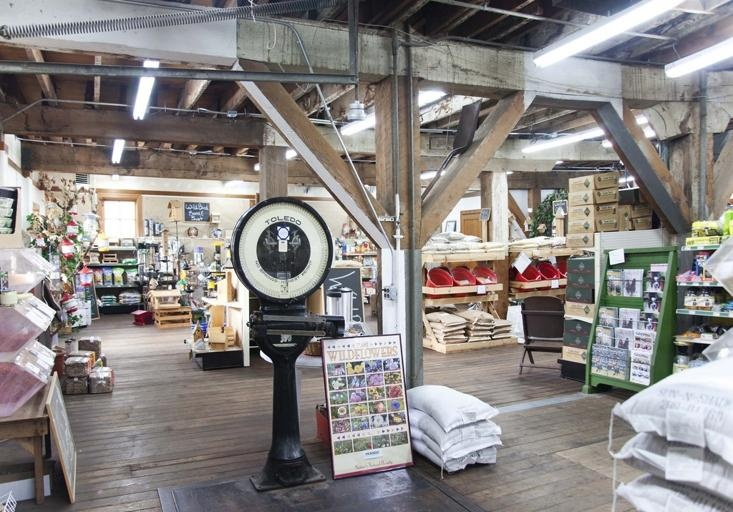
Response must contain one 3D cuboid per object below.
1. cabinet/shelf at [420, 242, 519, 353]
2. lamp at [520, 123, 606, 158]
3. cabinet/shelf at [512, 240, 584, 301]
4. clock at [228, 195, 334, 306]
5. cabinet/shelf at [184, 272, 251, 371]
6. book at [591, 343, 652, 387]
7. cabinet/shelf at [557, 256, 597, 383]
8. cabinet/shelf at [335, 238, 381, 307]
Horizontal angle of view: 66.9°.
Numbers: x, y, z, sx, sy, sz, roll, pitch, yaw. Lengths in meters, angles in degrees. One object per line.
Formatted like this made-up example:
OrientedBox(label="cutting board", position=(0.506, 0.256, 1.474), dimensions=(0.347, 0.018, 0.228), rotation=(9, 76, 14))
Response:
OrientedBox(label="cabinet/shelf", position=(1.553, 0.757, 9.670), dimensions=(1.704, 1.530, 1.192), rotation=(-1, 3, -30))
OrientedBox(label="lamp", position=(3.715, -2.275, 10.877), dimensions=(1.329, 0.468, 2.978), rotation=(2, 8, 16))
OrientedBox(label="cabinet/shelf", position=(3.248, 0.262, 10.521), dimensions=(1.485, 0.955, 0.795), rotation=(1, 6, -37))
OrientedBox(label="clock", position=(-0.684, -0.046, 4.674), dimensions=(0.860, 0.877, 0.137), rotation=(0, 0, 9))
OrientedBox(label="cabinet/shelf", position=(-2.210, 0.922, 8.381), dimensions=(0.876, 1.410, 0.986), rotation=(-3, 8, -18))
OrientedBox(label="book", position=(2.919, 1.254, 6.338), dimensions=(0.339, 0.422, 0.618), rotation=(-3, 5, -35))
OrientedBox(label="cabinet/shelf", position=(2.787, 0.728, 7.405), dimensions=(0.542, 1.407, 0.789), rotation=(2, -7, 29))
OrientedBox(label="cabinet/shelf", position=(-0.120, 0.316, 10.507), dimensions=(0.951, 1.314, 1.772), rotation=(0, 2, 13))
